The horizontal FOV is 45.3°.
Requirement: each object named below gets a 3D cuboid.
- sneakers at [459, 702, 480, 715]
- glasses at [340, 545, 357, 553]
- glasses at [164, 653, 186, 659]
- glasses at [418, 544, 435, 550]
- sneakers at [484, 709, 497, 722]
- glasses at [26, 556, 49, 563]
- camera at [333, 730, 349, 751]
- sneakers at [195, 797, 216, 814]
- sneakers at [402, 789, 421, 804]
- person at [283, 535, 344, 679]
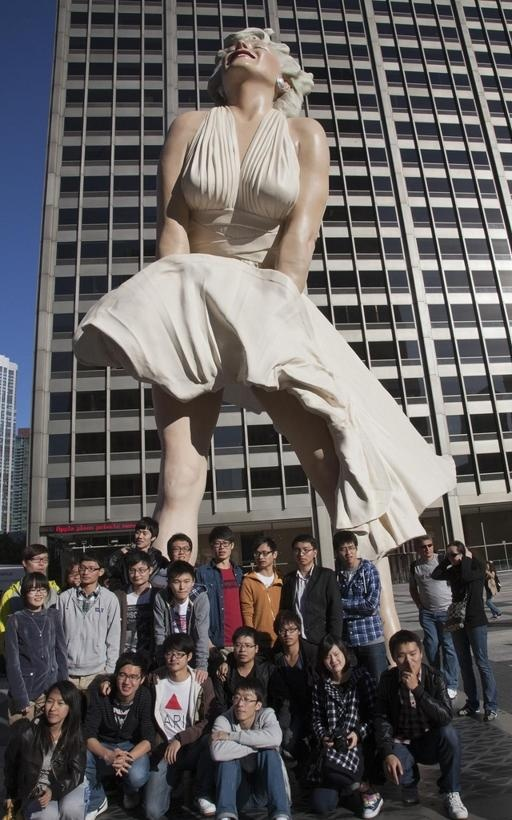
[{"bbox_3d":[1.877,2.661,5.419,0.187,0.081,0.092,13,-32,-23],"label":"sneakers"},{"bbox_3d":[0.672,1.012,4.432,0.071,0.044,0.089,1,0,2],"label":"glasses"},{"bbox_3d":[-0.444,1.368,3.374,0.110,0.038,0.063,2,-15,-7],"label":"glasses"},{"bbox_3d":[1.966,1.587,7.016,0.113,0.040,0.109,6,5,-36],"label":"glasses"},{"bbox_3d":[1.875,2.469,4.900,0.064,0.051,0.151,19,-45,26],"label":"sneakers"},{"bbox_3d":[-1.919,1.322,5.325,0.115,0.037,0.098,-15,-20,33],"label":"glasses"},{"bbox_3d":[0.473,1.877,3.449,0.081,0.080,0.138,-2,-15,8],"label":"camera"},{"bbox_3d":[-0.247,2.012,3.077,0.060,0.064,0.161,2,-9,-12],"label":"sneakers"},{"bbox_3d":[0.825,2.062,3.252,0.057,0.072,0.167,-2,-24,7],"label":"sneakers"},{"bbox_3d":[0.395,1.533,4.318,0.396,1.198,0.371,-10,-17,24],"label":"person"}]
